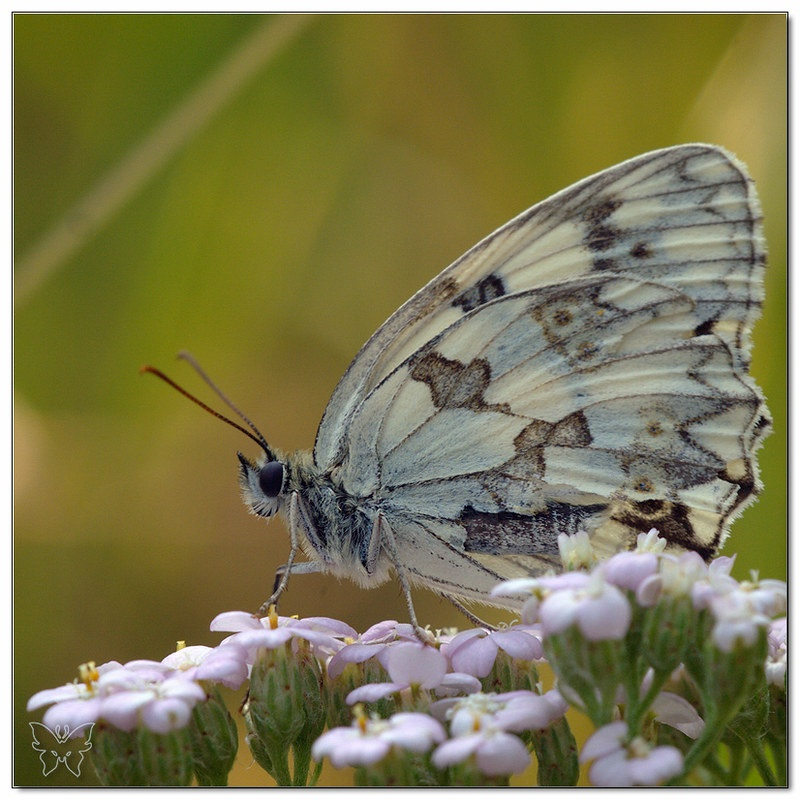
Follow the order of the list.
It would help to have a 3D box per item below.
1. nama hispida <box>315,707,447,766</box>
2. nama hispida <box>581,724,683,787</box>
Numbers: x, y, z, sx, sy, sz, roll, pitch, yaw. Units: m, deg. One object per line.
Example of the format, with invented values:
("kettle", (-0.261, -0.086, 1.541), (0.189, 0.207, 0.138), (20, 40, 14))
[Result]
("nama hispida", (-0.080, 1.120, 3.397), (0.273, 0.110, 0.256), (-4, 7, 4))
("nama hispida", (0.716, 1.123, 3.272), (0.293, 0.223, 0.256), (-13, -27, 4))
